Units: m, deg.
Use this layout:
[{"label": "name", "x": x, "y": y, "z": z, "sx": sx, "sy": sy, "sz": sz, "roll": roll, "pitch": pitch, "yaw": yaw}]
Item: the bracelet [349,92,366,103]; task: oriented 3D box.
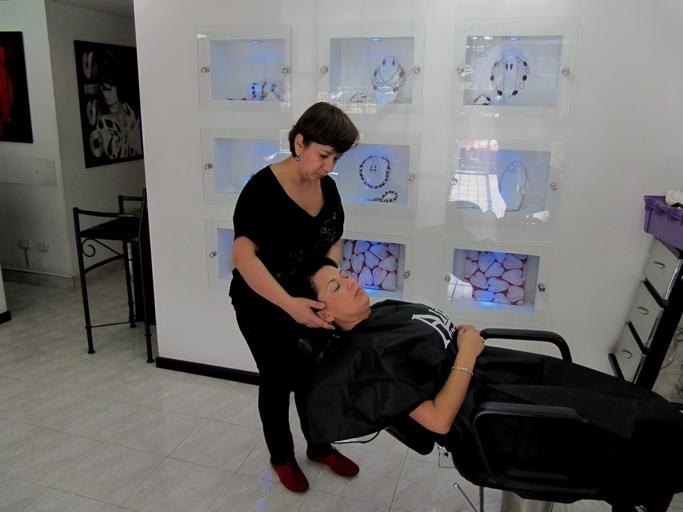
[{"label": "bracelet", "x": 0.089, "y": -0.843, "z": 2.570, "sx": 0.058, "sy": 0.043, "sz": 0.066, "roll": 4, "pitch": 20, "yaw": 13}]

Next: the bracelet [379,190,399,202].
[{"label": "bracelet", "x": 0.271, "y": -0.335, "z": 2.688, "sx": 0.097, "sy": 0.064, "sz": 0.028, "roll": 4, "pitch": 16, "yaw": 6}]

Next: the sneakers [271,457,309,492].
[{"label": "sneakers", "x": -0.246, "y": 1.003, "z": 2.251, "sx": 0.092, "sy": 0.082, "sz": 0.190, "roll": -16, "pitch": 31, "yaw": -43}]

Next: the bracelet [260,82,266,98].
[{"label": "bracelet", "x": -0.451, "y": -0.949, "z": 2.747, "sx": 0.039, "sy": 0.081, "sz": 0.017, "roll": 2, "pitch": 1, "yaw": 19}]

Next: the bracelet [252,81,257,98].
[{"label": "bracelet", "x": -0.501, "y": -0.950, "z": 2.755, "sx": 0.034, "sy": 0.077, "sz": 0.033, "roll": 3, "pitch": 16, "yaw": 5}]

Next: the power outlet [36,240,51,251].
[{"label": "power outlet", "x": -2.780, "y": -0.089, "z": 4.465, "sx": 0.159, "sy": 0.101, "sz": 0.008, "roll": 6, "pitch": 17, "yaw": 14}]

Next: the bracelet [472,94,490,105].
[{"label": "bracelet", "x": 0.709, "y": -0.786, "z": 2.428, "sx": 0.072, "sy": 0.058, "sz": 0.023, "roll": -2, "pitch": 2, "yaw": 14}]

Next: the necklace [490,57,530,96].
[{"label": "necklace", "x": 0.842, "y": -0.900, "z": 2.386, "sx": 0.161, "sy": 0.184, "sz": 0.024, "roll": 2, "pitch": 10, "yaw": 11}]

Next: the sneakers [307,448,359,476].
[{"label": "sneakers", "x": -0.035, "y": 0.995, "z": 2.373, "sx": 0.262, "sy": 0.109, "sz": 0.109, "roll": 11, "pitch": 16, "yaw": 25}]

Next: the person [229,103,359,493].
[{"label": "person", "x": -0.206, "y": 0.266, "z": 2.113, "sx": 0.533, "sy": 1.788, "sz": 0.765, "roll": -2, "pitch": 13, "yaw": -10}]
